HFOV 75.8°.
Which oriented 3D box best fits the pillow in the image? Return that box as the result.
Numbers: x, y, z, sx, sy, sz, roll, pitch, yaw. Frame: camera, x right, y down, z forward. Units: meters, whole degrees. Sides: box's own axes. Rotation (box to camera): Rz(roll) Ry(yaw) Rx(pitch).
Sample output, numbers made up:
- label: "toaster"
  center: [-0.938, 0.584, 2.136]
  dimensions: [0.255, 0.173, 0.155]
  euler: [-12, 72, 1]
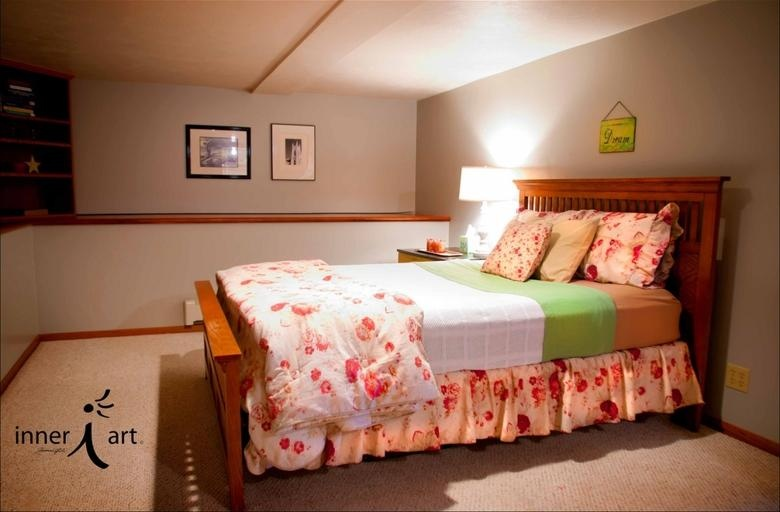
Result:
- label: "pillow"
  center: [1.513, -0.053, 3.885]
  dimensions: [0.899, 0.337, 0.790]
  euler: [1, 34, 34]

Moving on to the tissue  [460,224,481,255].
- label: "tissue "
  center: [0.860, -0.168, 5.376]
  dimensions: [0.163, 0.503, 0.353]
  euler: [1, 3, -2]

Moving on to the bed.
- label: "bed"
  center: [0.448, 0.379, 3.867]
  dimensions: [3.552, 1.956, 2.040]
  euler: [-4, 8, -23]
